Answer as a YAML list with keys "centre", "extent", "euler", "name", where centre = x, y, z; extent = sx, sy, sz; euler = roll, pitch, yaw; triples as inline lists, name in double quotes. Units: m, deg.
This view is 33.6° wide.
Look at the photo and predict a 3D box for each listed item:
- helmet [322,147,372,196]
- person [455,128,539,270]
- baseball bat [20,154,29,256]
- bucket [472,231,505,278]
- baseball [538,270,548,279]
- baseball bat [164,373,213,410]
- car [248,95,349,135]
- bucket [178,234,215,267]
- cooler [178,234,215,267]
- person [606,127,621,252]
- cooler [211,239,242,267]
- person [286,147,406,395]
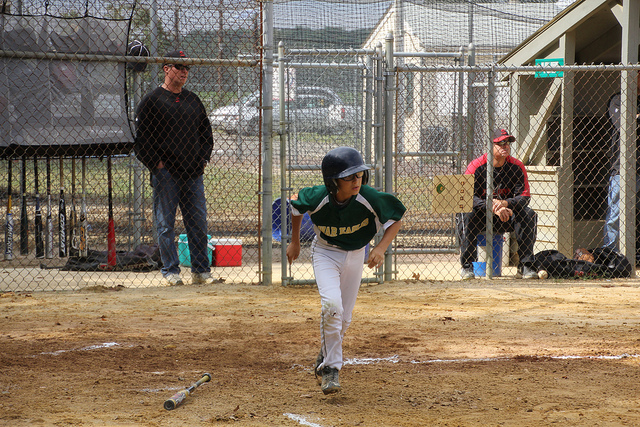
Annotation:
- centre: [0.245, -0.465, 11.210]
  extent: [0.401, 0.434, 0.493]
  euler: [-7, 5, -36]
  name: "helmet"
- centre: [2.428, -0.207, 14.667]
  extent: [1.148, 1.935, 0.650]
  euler: [-1, 1, -24]
  name: "person"
- centre: [-4.287, -0.113, 15.330]
  extent: [0.088, 1.231, 0.083]
  euler: [0, 1, -42]
  name: "baseball bat"
- centre: [2.401, 0.548, 14.924]
  extent: [0.530, 0.772, 0.561]
  euler: [1, 8, 0]
  name: "bucket"
- centre: [3.055, 0.842, 14.541]
  extent: [0.118, 0.110, 0.066]
  euler: [-1, 1, 11]
  name: "baseball"
- centre: [-1.388, 1.879, 11.226]
  extent: [0.118, 0.119, 0.681]
  euler: [4, 20, 30]
  name: "baseball bat"
- centre: [-0.367, -1.553, 16.006]
  extent: [1.552, 0.741, 0.750]
  euler: [1, 2, -3]
  name: "car"
- centre: [-1.762, 0.541, 15.222]
  extent: [0.513, 0.558, 0.440]
  euler: [1, 9, -2]
  name: "bucket"
- centre: [-1.777, 0.549, 15.105]
  extent: [0.462, 0.504, 0.471]
  euler: [1, 3, -4]
  name: "cooler"
- centre: [4.107, -0.326, 14.832]
  extent: [0.204, 1.706, 0.603]
  euler: [-1, 1, 15]
  name: "person"
- centre: [-1.346, 0.559, 15.266]
  extent: [0.362, 0.294, 0.381]
  euler: [0, 3, -4]
  name: "cooler"
- centre: [0.252, 0.595, 11.356]
  extent: [1.196, 2.594, 0.694]
  euler: [-1, 1, -3]
  name: "person"
